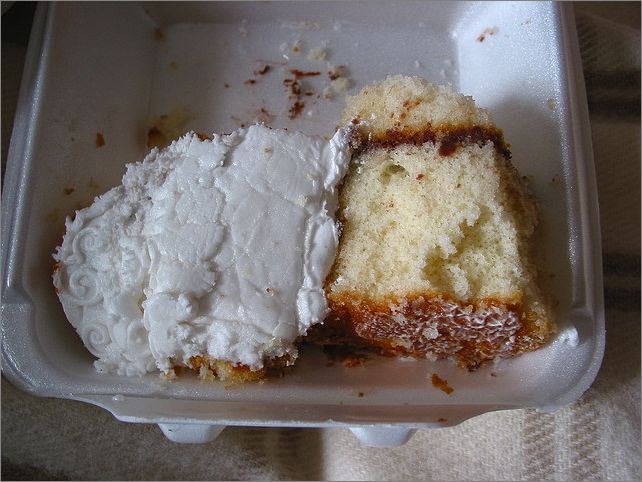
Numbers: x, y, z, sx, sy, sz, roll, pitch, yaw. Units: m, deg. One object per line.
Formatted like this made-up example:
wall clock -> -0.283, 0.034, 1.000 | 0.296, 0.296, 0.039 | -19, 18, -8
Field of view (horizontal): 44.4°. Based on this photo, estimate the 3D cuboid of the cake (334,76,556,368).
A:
cake -> 0.335, -0.047, 2.077 | 0.595, 0.210, 0.758 | 5, 84, 3
